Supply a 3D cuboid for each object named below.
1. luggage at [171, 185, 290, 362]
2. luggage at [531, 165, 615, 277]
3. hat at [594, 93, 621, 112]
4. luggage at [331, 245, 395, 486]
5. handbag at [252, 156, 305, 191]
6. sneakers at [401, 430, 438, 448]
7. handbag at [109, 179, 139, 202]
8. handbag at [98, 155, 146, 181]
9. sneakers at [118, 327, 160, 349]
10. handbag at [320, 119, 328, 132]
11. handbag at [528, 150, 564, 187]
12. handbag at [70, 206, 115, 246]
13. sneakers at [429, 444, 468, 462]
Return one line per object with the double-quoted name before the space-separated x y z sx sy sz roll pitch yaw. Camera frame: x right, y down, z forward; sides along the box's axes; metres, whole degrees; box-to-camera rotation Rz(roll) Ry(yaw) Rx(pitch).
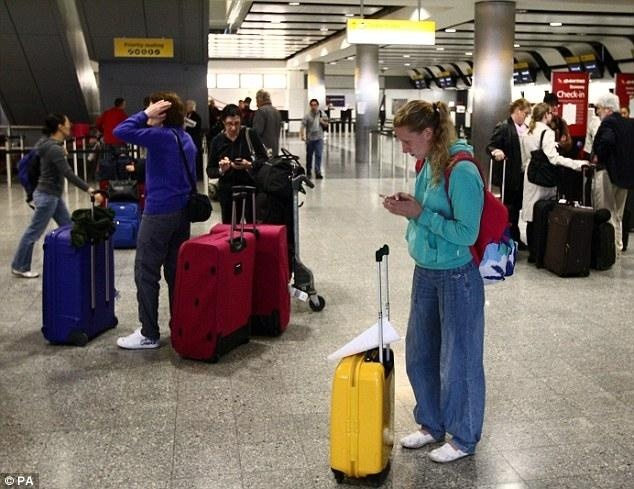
"luggage" -0.653 0.266 4.132 0.444 1.253 1.096 5 10 21
"luggage" 3.044 -0.227 6.189 0.763 1.529 1.031 0 6 -5
"hat" 3.822 -1.860 7.079 0.214 0.311 0.296 -10 9 -13
"luggage" 0.230 0.560 2.627 0.302 1.164 0.387 2 11 9
"handbag" -0.340 -0.607 4.720 0.311 0.258 0.335 -11 6 -35
"sneakers" 0.556 1.041 2.904 0.183 0.074 0.091 -1 2 -11
"handbag" -2.629 -0.724 7.302 0.346 0.323 0.140 -2 -1 -1
"handbag" -2.808 -1.098 7.790 0.439 0.300 0.462 0 8 -7
"sneakers" -1.396 0.730 4.237 0.290 0.150 0.143 3 -3 -3
"handbag" 0.188 -3.248 14.667 0.203 0.252 0.622 0 13 -1
"handbag" 2.763 -0.913 6.602 0.406 0.491 0.376 -2 17 4
"handbag" -1.784 -0.142 4.228 0.251 0.184 0.334 3 6 -37
"sneakers" 0.680 1.056 2.758 0.176 0.064 0.091 0 12 -4
